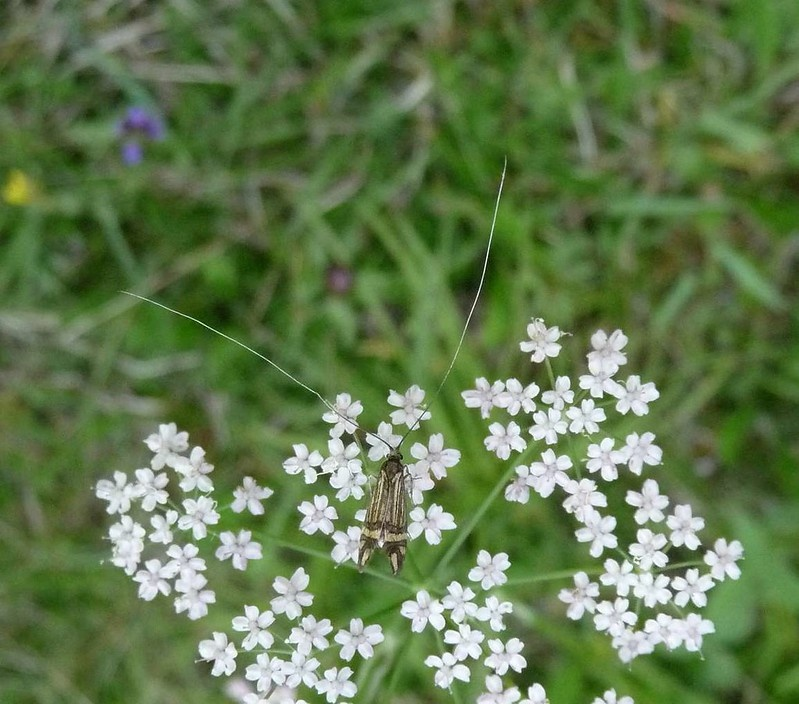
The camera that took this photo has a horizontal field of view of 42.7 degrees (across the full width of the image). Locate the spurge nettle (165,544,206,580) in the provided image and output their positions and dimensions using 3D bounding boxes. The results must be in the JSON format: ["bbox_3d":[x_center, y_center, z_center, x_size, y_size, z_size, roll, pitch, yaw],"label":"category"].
[{"bbox_3d":[-0.796,0.791,3.863,0.121,0.146,0.129,-17,72,-4],"label":"spurge nettle"}]

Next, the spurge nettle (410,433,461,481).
[{"bbox_3d":[0.154,0.414,3.998,0.195,0.046,0.204,-1,81,-5],"label":"spurge nettle"}]

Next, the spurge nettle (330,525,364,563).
[{"bbox_3d":[-0.193,0.745,3.888,0.112,0.212,0.123,-1,71,1],"label":"spurge nettle"}]

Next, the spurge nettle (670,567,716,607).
[{"bbox_3d":[1.075,0.874,3.804,0.141,0.045,0.160,-2,86,-2],"label":"spurge nettle"}]

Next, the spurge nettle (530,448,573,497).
[{"bbox_3d":[0.572,0.460,3.818,0.156,0.056,0.178,-11,78,15],"label":"spurge nettle"}]

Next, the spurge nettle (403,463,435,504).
[{"bbox_3d":[0.092,0.496,3.823,0.124,0.036,0.139,-2,81,29],"label":"spurge nettle"}]

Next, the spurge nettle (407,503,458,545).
[{"bbox_3d":[0.122,0.655,3.834,0.170,0.202,0.147,-10,71,-2],"label":"spurge nettle"}]

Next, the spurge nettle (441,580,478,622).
[{"bbox_3d":[0.232,0.928,3.773,0.122,0.138,0.145,-36,75,-10],"label":"spurge nettle"}]

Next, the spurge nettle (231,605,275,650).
[{"bbox_3d":[-0.536,1.019,3.867,0.162,0.071,0.192,-1,83,-5],"label":"spurge nettle"}]

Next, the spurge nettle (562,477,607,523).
[{"bbox_3d":[0.683,0.557,3.803,0.140,0.177,0.158,-22,73,-6],"label":"spurge nettle"}]

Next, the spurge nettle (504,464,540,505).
[{"bbox_3d":[0.461,0.493,3.871,0.111,0.055,0.151,-17,95,8],"label":"spurge nettle"}]

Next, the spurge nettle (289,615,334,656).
[{"bbox_3d":[-0.324,1.091,3.896,0.150,0.335,0.141,12,72,6],"label":"spurge nettle"}]

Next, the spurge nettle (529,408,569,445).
[{"bbox_3d":[0.567,0.288,3.859,0.148,0.176,0.141,5,72,3],"label":"spurge nettle"}]

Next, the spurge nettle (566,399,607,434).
[{"bbox_3d":[0.702,0.247,3.850,0.137,0.148,0.135,10,72,4],"label":"spurge nettle"}]

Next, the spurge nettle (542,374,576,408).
[{"bbox_3d":[0.607,0.155,3.860,0.107,0.044,0.123,5,105,4],"label":"spurge nettle"}]

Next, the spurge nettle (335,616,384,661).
[{"bbox_3d":[-0.141,1.085,3.855,0.168,0.291,0.140,-7,71,-1],"label":"spurge nettle"}]

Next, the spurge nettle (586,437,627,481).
[{"bbox_3d":[0.769,0.396,3.793,0.145,0.128,0.138,31,75,10],"label":"spurge nettle"}]
